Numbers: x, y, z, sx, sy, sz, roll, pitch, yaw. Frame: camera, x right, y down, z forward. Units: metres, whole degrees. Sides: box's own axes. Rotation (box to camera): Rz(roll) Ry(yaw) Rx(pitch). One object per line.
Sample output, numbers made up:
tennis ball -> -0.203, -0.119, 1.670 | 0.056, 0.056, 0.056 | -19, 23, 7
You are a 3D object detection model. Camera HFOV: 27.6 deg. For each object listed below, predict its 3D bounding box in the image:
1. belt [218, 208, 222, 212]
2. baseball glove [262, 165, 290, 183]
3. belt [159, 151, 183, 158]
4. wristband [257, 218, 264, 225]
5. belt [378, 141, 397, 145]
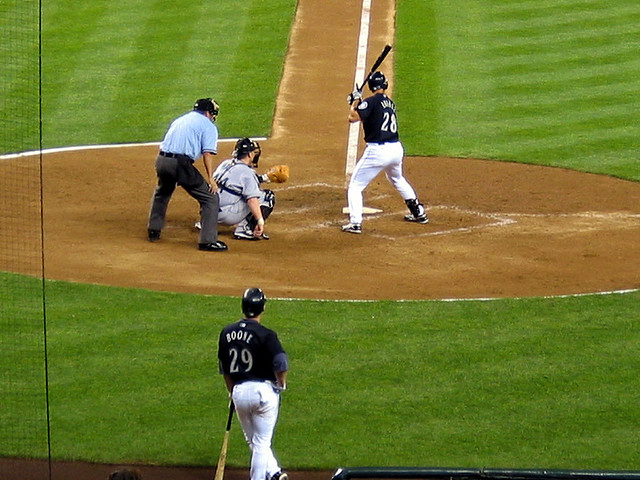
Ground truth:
belt -> -1.517, -0.462, 19.438 | 0.057, 0.090, 0.055 | -4, 14, -15
baseball glove -> -0.694, -0.997, 19.919 | 0.372, 0.144, 0.256 | 3, 26, 13
belt -> -2.228, -1.246, 18.947 | 0.314, 0.082, 0.080 | 6, 12, 26
wristband -> -0.905, -0.293, 19.321 | 0.092, 0.061, 0.087 | 0, 13, 4
belt -> 1.015, -1.478, 19.820 | 0.318, 0.040, 0.043 | -3, 11, -20
